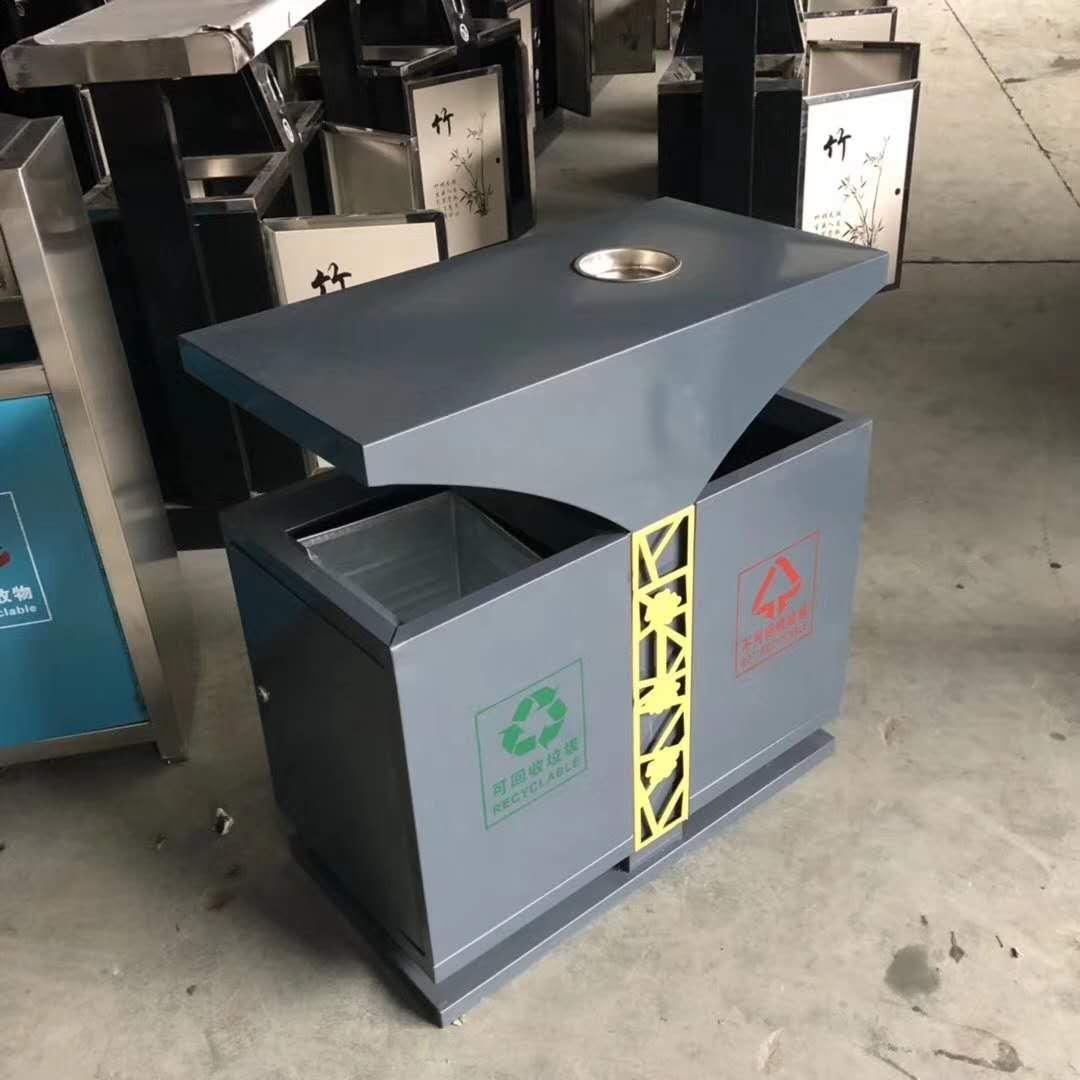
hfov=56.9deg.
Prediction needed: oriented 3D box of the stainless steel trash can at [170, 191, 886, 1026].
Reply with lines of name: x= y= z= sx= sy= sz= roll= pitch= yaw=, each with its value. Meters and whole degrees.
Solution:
stainless steel trash can: x=0.055 y=0.083 z=1.705 sx=0.976 sy=0.998 sz=0.495 roll=-23 pitch=35 yaw=-31
